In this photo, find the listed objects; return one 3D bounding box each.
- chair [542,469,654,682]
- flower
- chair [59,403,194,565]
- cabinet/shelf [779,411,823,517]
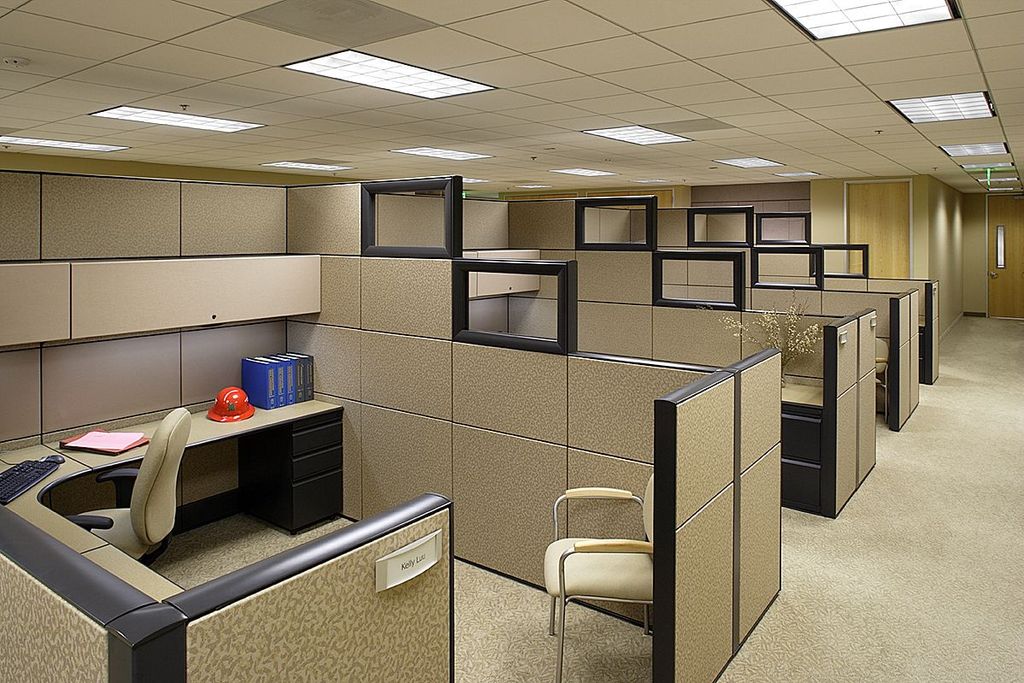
[{"bbox_3d":[0.459,1.203,3.436,0.572,0.939,0.727,2,14,7],"label":"chair"},{"bbox_3d":[2.331,-0.131,5.783,0.815,0.435,0.826,4,7,43],"label":"flower"},{"bbox_3d":[-2.128,0.752,3.530,0.757,0.752,0.570,3,14,-6],"label":"chair"},{"bbox_3d":[2.189,0.872,4.937,0.348,0.784,0.148,8,17,29],"label":"cabinet/shelf"}]
